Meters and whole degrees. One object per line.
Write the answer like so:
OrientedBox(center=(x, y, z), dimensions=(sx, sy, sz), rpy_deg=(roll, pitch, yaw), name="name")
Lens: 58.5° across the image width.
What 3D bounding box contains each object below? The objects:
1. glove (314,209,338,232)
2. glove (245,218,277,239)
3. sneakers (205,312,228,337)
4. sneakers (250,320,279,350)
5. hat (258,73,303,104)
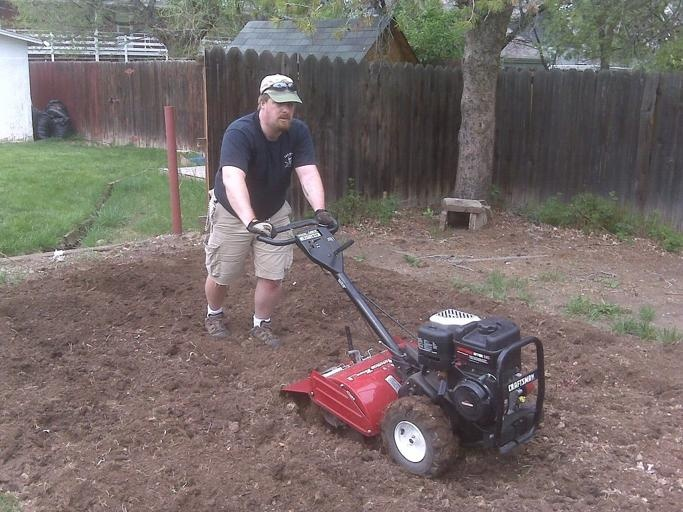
OrientedBox(center=(-0.136, -0.296, 5.388), dimensions=(0.152, 0.078, 0.210), rpy_deg=(-29, 66, -31), name="glove")
OrientedBox(center=(-0.631, -0.225, 4.986), dimensions=(0.254, 0.129, 0.187), rpy_deg=(14, 24, 40), name="glove")
OrientedBox(center=(-1.273, 0.692, 6.215), dimensions=(0.123, 0.162, 0.349), rpy_deg=(-5, 12, -24), name="sneakers")
OrientedBox(center=(-0.747, 0.757, 6.079), dimensions=(0.153, 0.163, 0.331), rpy_deg=(-22, 38, -37), name="sneakers")
OrientedBox(center=(-0.561, -1.458, 5.328), dimensions=(0.223, 0.176, 0.329), rpy_deg=(0, 13, -31), name="hat")
